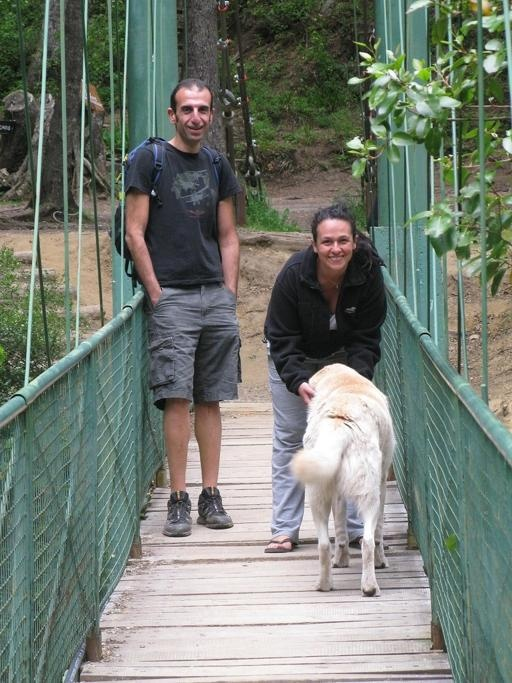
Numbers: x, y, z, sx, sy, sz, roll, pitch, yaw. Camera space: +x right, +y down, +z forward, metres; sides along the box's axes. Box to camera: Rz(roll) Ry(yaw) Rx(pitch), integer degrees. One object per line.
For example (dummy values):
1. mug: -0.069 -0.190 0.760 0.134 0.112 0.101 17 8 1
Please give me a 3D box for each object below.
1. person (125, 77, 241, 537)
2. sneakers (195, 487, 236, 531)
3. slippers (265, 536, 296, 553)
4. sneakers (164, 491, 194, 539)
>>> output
1. person: -0.337 -0.186 3.868 0.634 2.236 0.375 -3 4 -24
2. sneakers: -0.211 0.848 3.945 0.092 0.182 0.263 0 -3 -20
3. slippers: 0.108 0.919 3.509 0.143 0.046 0.059 4 1 -15
4. sneakers: -0.387 0.838 3.813 0.124 0.194 0.345 0 4 -5
